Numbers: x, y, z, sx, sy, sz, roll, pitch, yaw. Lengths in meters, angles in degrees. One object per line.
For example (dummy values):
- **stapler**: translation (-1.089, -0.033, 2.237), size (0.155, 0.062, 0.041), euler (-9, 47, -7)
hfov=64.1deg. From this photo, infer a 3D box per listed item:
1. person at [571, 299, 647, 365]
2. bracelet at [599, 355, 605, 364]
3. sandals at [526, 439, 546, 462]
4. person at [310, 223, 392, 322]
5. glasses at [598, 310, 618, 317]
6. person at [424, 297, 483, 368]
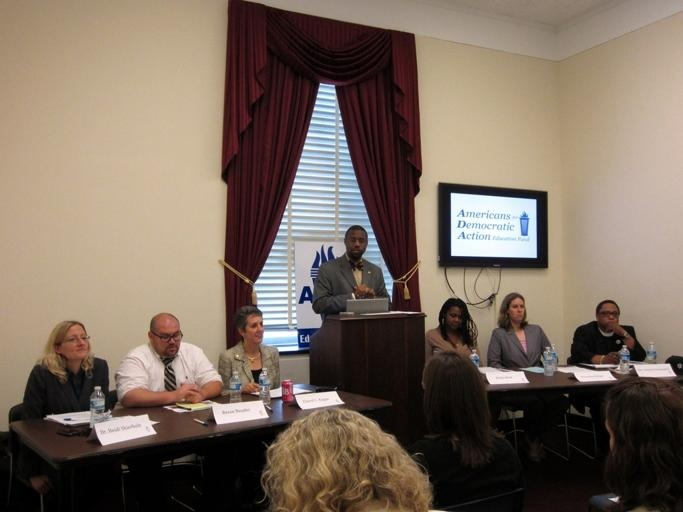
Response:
- **person**: translation (2.836, 0.806, 5.737), size (0.471, 0.872, 0.455), euler (0, -18, 3)
- **bracelet**: translation (2.497, 0.990, 5.220), size (0.026, 0.075, 0.061), euler (6, 0, 0)
- **sandals**: translation (1.804, 1.805, 5.114), size (0.139, 0.057, 0.206), euler (1, 35, -2)
- **person**: translation (0.101, 0.119, 5.018), size (0.713, 0.824, 0.562), euler (-1, 0, -13)
- **glasses**: translation (2.739, 0.597, 5.590), size (0.174, 0.059, 0.072), euler (-2, 0, 7)
- **person**: translation (1.022, 0.701, 5.124), size (0.604, 0.811, 0.420), euler (3, -12, -14)
